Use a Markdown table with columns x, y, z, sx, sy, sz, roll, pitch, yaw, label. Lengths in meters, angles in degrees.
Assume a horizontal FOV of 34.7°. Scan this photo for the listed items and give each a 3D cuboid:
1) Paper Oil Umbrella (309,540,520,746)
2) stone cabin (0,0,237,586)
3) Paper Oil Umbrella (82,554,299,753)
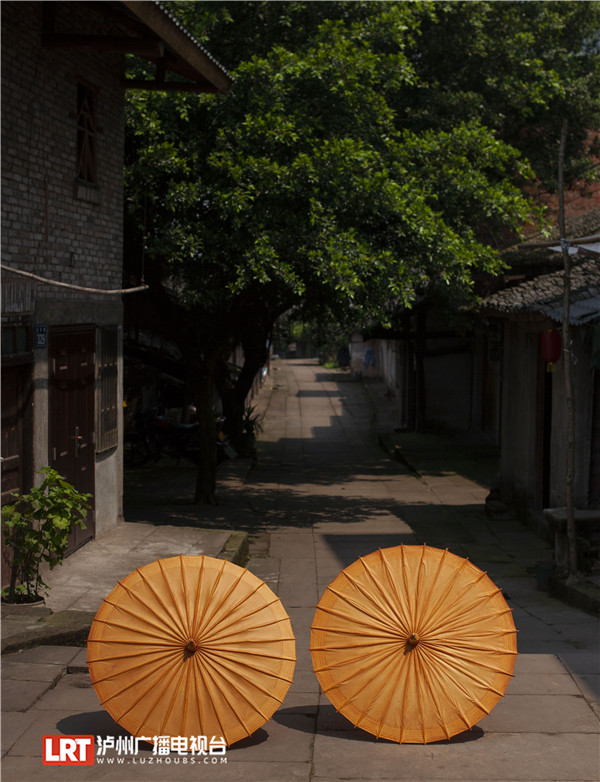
| x | y | z | sx | sy | sz | roll | pitch | yaw | label |
| --- | --- | --- | --- | --- | --- | --- | --- | --- | --- |
| 0.667 | 1.483 | 5.616 | 1.205 | 1.055 | 0.546 | -1 | 2 | -1 | Paper Oil Umbrella |
| -1.993 | -1.239 | 9.975 | 1.478 | 5.870 | 3.437 | -1 | 2 | -3 | stone cabin |
| -0.623 | 1.484 | 5.496 | 1.163 | 0.953 | 0.517 | -2 | 2 | -13 | Paper Oil Umbrella |
